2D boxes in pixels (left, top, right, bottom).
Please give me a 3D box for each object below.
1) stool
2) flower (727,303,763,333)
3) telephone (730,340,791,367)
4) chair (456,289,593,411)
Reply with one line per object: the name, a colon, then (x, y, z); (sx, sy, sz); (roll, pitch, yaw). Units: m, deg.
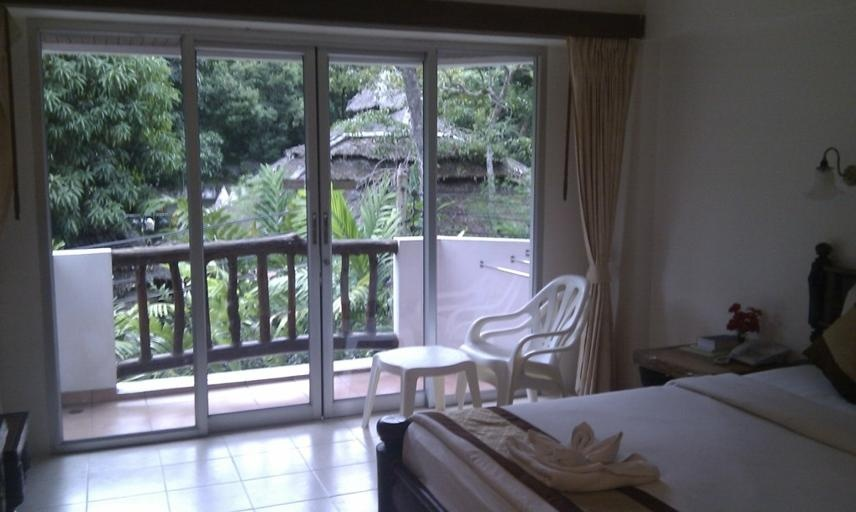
stool: (-0.050, 0.947, 4.743); (0.734, 0.575, 0.756); (-4, 5, -30)
flower: (2.176, 0.420, 4.264); (0.227, 0.220, 0.209); (1, -3, 8)
telephone: (2.241, 0.661, 4.147); (0.250, 0.081, 0.191); (-5, 4, -16)
chair: (0.708, 0.753, 4.930); (1.013, 1.137, 0.969); (4, 6, 22)
